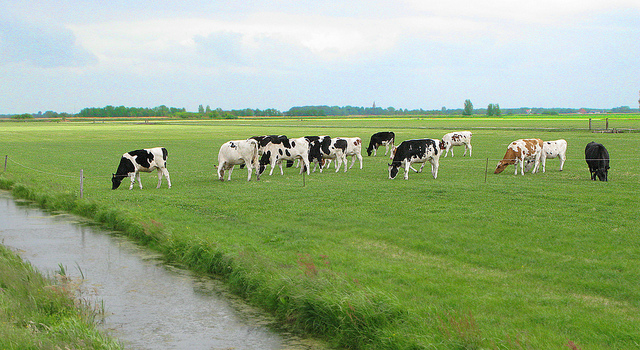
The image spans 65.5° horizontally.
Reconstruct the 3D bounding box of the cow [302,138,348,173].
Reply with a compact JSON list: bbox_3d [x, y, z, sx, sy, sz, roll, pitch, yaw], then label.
[{"bbox_3d":[0.378,-1.940,42.555,5.506,3.364,2.428,0,-2,-25],"label":"cow"}]

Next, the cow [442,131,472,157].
[{"bbox_3d":[14.665,-3.346,54.082,2.732,2.769,5.040,1,2,14],"label":"cow"}]

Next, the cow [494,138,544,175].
[{"bbox_3d":[15.993,-1.494,39.815,2.579,2.817,3.166,3,3,37],"label":"cow"}]

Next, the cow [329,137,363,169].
[{"bbox_3d":[1.743,-1.897,43.461,4.619,2.880,1.177,-3,-4,-43],"label":"cow"}]
